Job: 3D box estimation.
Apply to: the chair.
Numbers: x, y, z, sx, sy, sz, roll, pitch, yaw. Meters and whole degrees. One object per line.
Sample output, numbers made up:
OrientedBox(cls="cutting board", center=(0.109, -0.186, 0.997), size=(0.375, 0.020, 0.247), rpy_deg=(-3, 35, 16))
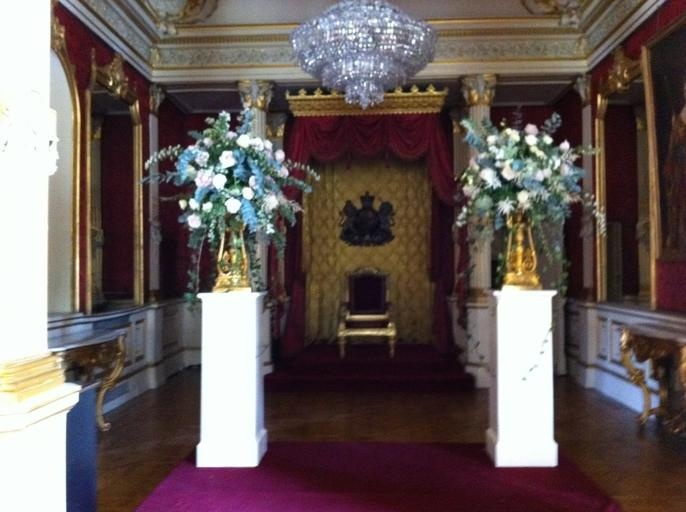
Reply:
OrientedBox(cls="chair", center=(0.353, 0.722, 7.685), size=(0.725, 1.066, 1.032), rpy_deg=(2, 2, 4))

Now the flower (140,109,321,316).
OrientedBox(cls="flower", center=(-0.765, -0.342, 4.732), size=(1.108, 1.367, 1.088), rpy_deg=(10, -6, 44))

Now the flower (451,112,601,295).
OrientedBox(cls="flower", center=(1.590, -0.447, 4.775), size=(0.933, 1.458, 1.058), rpy_deg=(-3, -1, 0))

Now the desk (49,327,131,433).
OrientedBox(cls="desk", center=(-2.359, 1.180, 5.215), size=(0.669, 0.840, 0.787), rpy_deg=(0, -12, -29))
